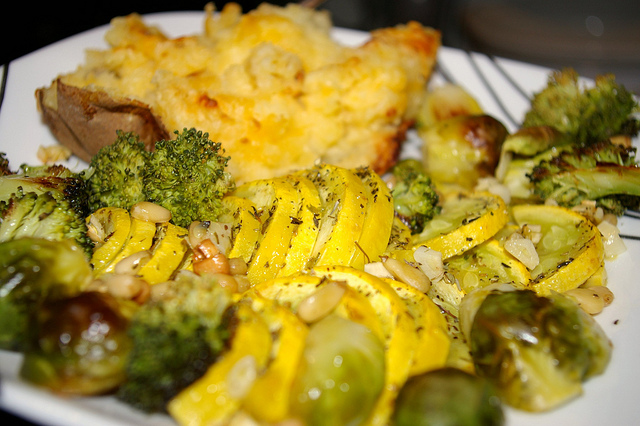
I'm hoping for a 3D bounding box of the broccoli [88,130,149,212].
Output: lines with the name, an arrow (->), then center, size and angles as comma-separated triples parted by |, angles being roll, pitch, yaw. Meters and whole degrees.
broccoli -> -1.554, -0.334, 4.446 | 0.463, 0.250, 0.547 | -34, 50, 24
